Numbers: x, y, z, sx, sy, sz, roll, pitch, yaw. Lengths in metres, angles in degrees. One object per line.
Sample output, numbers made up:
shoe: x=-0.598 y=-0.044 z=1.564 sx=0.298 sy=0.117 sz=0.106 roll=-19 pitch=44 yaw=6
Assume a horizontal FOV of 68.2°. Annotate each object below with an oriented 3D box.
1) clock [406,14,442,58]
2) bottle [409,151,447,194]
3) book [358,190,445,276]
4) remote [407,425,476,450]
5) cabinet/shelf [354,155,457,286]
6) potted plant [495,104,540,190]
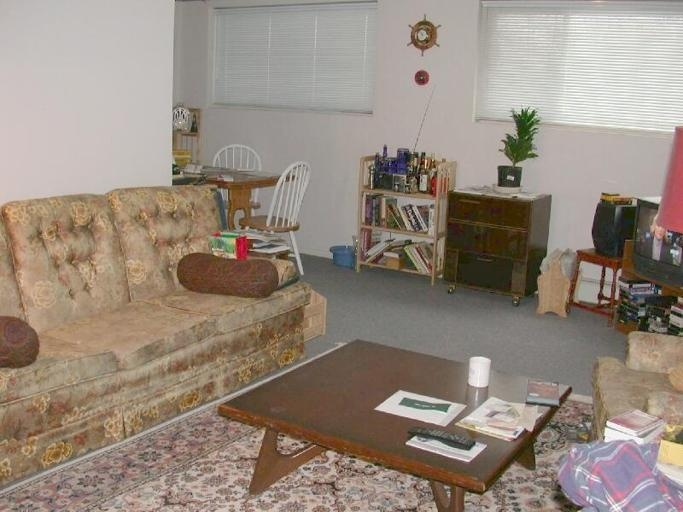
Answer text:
clock: x=0.862 y=-2.286 z=5.206 sx=0.458 sy=0.534 sz=0.058 roll=5 pitch=8 yaw=26
bottle: x=0.830 y=-0.822 z=5.013 sx=0.370 sy=0.397 sz=0.252 roll=7 pitch=16 yaw=21
book: x=0.617 y=-0.238 z=5.201 sx=0.798 sy=0.747 sz=0.268 roll=8 pitch=12 yaw=33
remote: x=0.348 y=0.629 z=1.750 sx=0.162 sy=0.029 sz=0.086 roll=8 pitch=10 yaw=31
cabinet/shelf: x=0.670 y=-0.355 z=5.141 sx=1.105 sy=1.356 sz=0.481 roll=11 pitch=17 yaw=32
potted plant: x=1.685 y=-1.039 z=4.787 sx=0.355 sy=0.736 sz=0.565 roll=6 pitch=16 yaw=17
